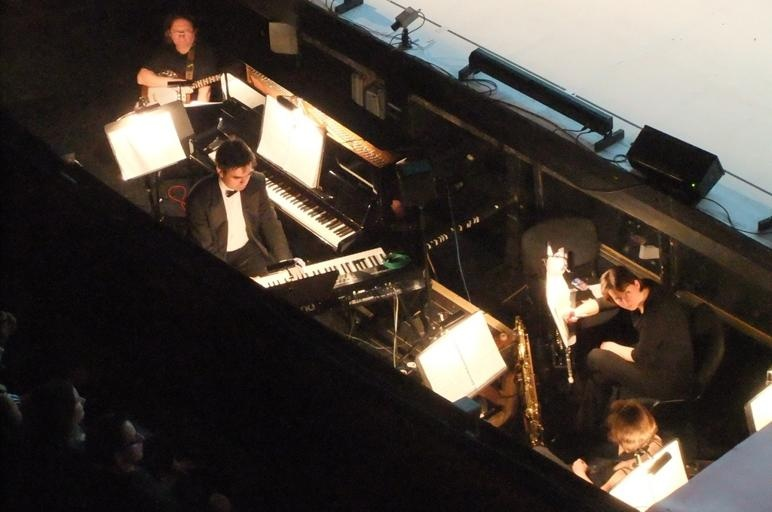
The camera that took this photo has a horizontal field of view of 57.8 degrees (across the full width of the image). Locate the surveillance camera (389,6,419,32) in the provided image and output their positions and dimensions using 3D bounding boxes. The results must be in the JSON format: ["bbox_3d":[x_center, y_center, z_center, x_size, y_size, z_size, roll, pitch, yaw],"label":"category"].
[{"bbox_3d":[0.233,-2.946,8.771,0.409,0.223,0.216,-46,47,-10],"label":"surveillance camera"}]

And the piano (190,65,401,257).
[{"bbox_3d":[-1.182,-1.133,8.933,2.196,1.757,0.872,40,60,9],"label":"piano"}]

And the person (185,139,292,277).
[{"bbox_3d":[-1.813,-0.616,8.434,1.159,1.526,0.747,-7,38,-16],"label":"person"}]
